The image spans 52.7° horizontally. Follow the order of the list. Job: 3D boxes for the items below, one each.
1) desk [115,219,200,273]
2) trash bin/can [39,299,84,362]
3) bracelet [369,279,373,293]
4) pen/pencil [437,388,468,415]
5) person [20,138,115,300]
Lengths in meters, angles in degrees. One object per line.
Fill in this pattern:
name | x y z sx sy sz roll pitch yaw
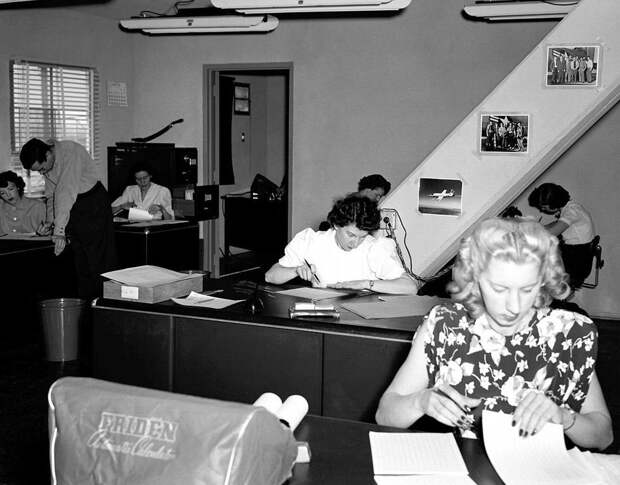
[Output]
desk | -1.535 0.037 6.478 0.510 0.681 0.930 5 7 33
trash bin/can | -1.962 0.688 4.954 0.302 0.446 0.264 3 10 -2
bracelet | 0.362 0.254 3.733 0.011 0.049 0.049 9 51 -11
pen/pencil | 0.437 0.495 1.949 0.025 0.022 0.099 -10 41 -41
person | -2.133 -0.063 5.755 0.579 1.813 0.620 -14 24 -25
